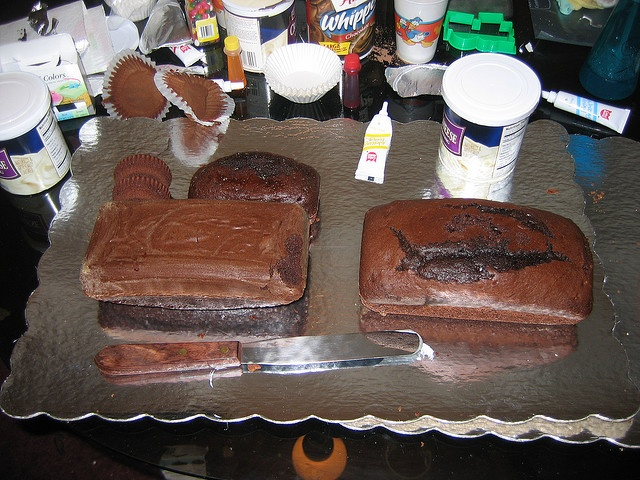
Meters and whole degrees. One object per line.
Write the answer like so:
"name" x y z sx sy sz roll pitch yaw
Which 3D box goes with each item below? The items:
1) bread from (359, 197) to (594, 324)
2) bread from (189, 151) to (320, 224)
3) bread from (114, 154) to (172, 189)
"bread" 0.409 0.047 1.462 0.585 0.179 0.302 3 72 6
"bread" -0.186 -0.156 1.665 0.346 0.093 0.183 6 56 1
"bread" -0.515 -0.208 1.661 0.125 0.032 0.118 35 50 4
